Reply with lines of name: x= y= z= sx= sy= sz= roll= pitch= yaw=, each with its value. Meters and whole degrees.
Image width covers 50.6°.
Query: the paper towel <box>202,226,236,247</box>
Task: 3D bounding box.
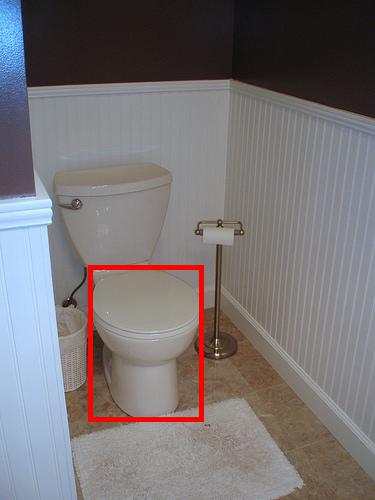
paper towel: x=0.139 y=-0.054 z=1.785 sx=0.137 sy=0.104 sz=0.103 roll=5 pitch=20 yaw=5

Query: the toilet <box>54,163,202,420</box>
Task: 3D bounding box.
toilet: x=-0.246 y=0.166 z=1.627 sx=0.512 sy=0.901 sz=0.709 roll=-4 pitch=20 yaw=-19
